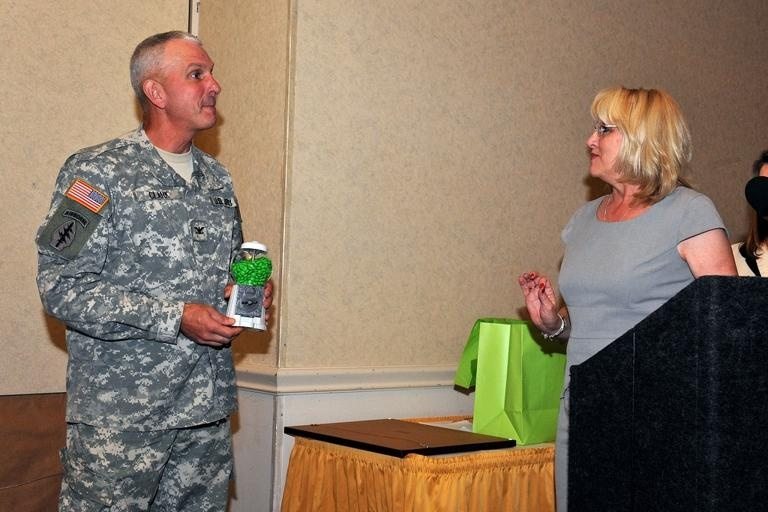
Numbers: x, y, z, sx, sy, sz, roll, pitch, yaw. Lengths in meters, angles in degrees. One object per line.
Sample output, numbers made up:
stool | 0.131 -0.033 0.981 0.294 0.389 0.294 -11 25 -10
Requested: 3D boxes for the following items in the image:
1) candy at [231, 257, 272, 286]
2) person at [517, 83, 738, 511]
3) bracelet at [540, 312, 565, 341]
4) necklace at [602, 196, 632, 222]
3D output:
candy | -0.381 0.045 2.044 0.088 0.077 0.092 4 7 17
person | 0.658 0.110 2.004 0.624 1.191 0.375 -7 -8 30
bracelet | 0.544 0.231 2.235 0.023 0.083 0.083 28 5 -34
necklace | 0.672 -0.133 2.038 0.056 0.079 0.029 4 -4 18
